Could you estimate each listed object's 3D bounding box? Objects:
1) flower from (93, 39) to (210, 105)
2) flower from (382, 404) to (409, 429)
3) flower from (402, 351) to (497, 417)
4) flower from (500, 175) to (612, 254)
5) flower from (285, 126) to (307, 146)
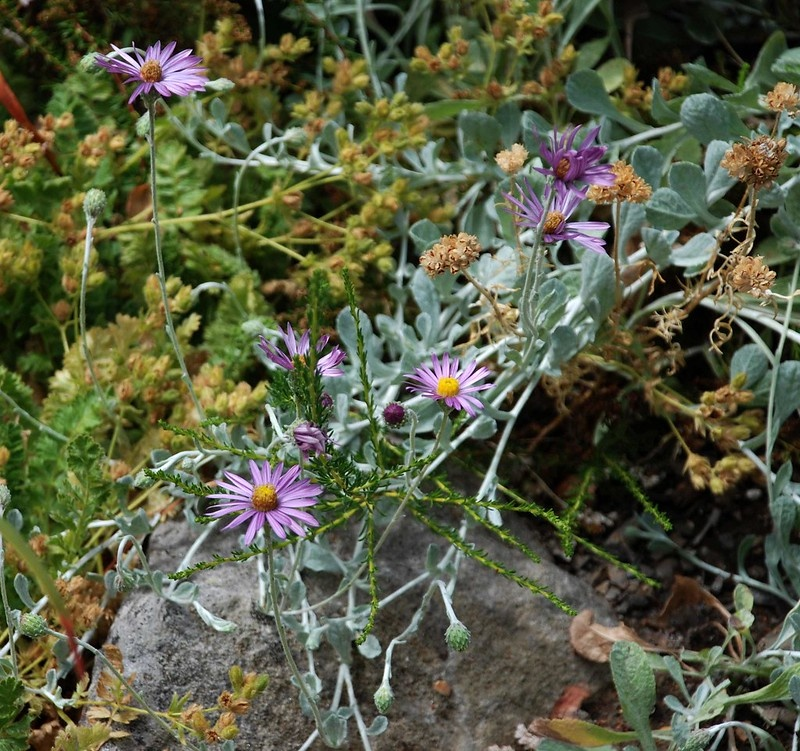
[{"bbox_3d":[-0.370,-0.458,1.377,0.132,0.150,0.047,-11,99,21],"label":"flower"},{"bbox_3d":[-0.011,0.065,1.375,0.027,0.014,0.037,-4,79,5],"label":"flower"},{"bbox_3d":[0.070,0.014,1.379,0.125,0.142,0.065,16,114,46],"label":"flower"},{"bbox_3d":[0.224,-0.211,1.322,0.143,0.155,0.078,12,77,48],"label":"flower"},{"bbox_3d":[-0.197,-0.451,1.760,0.034,0.036,0.026,-8,78,43],"label":"flower"}]
